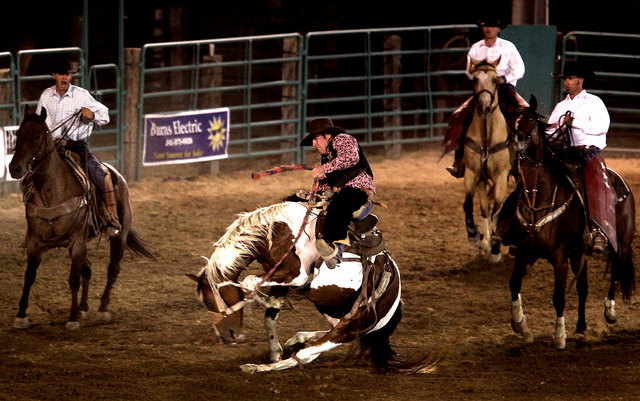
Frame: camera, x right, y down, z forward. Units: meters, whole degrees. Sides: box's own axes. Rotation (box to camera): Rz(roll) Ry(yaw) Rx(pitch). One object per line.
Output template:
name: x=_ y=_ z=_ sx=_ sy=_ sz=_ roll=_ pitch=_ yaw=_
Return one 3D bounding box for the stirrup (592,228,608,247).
stirrup: x=3.905 y=0.520 z=14.904 sx=0.210 sy=0.229 sz=0.062 roll=1 pitch=12 yaw=7

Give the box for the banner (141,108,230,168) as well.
banner: x=-2.559 y=-1.201 z=20.201 sx=1.920 sy=0.964 sz=0.145 roll=-7 pitch=13 yaw=-37

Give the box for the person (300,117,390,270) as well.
person: x=0.307 y=-0.085 z=14.130 sx=0.977 sy=1.987 sz=0.603 roll=-1 pitch=7 yaw=2

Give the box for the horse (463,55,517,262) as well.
horse: x=2.734 y=-0.916 z=17.532 sx=1.235 sy=2.522 sz=3.569 roll=3 pitch=21 yaw=8

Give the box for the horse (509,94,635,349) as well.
horse: x=3.567 y=0.289 z=15.239 sx=1.849 sy=3.578 sz=0.676 roll=-4 pitch=7 yaw=-25

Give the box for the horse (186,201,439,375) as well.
horse: x=-0.168 y=1.363 z=14.399 sx=4.068 sy=2.035 sz=0.934 roll=12 pitch=-13 yaw=-41

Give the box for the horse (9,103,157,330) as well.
horse: x=-3.749 y=0.146 z=15.457 sx=1.359 sy=2.554 sz=4.278 roll=-3 pitch=16 yaw=-13

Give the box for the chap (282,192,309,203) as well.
chap: x=-0.352 y=-0.031 z=14.237 sx=0.152 sy=0.044 sz=0.199 roll=-3 pitch=-5 yaw=29

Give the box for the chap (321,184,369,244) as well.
chap: x=0.314 y=0.181 z=14.033 sx=0.589 sy=0.919 sz=0.318 roll=20 pitch=3 yaw=-29
